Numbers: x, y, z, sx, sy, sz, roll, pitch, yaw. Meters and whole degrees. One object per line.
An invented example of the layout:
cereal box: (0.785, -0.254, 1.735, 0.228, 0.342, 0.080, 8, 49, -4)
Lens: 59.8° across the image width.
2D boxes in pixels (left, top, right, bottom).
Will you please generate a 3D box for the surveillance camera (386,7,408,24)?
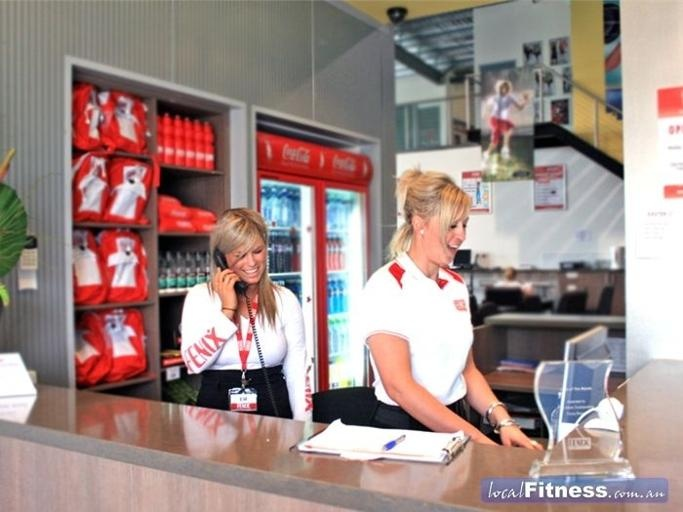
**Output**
surveillance camera: (0.551, -2.402, 5.925, 0.213, 0.096, 0.299, 1, 3, 6)

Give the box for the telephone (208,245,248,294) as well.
telephone: (-0.552, 0.067, 2.930, 0.053, 0.230, 0.090, -38, -23, 14)

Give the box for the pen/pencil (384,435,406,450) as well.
pen/pencil: (0.180, 0.614, 1.977, 0.025, 0.023, 0.129, 34, 19, 21)

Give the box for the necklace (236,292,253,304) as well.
necklace: (-0.481, 0.211, 2.944, 0.067, 0.052, 0.024, -3, 0, -37)

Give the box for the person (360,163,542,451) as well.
person: (0.410, 0.186, 2.428, 0.655, 1.112, 0.540, 0, 3, -4)

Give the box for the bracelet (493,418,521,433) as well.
bracelet: (0.667, 0.689, 2.448, 0.073, 0.031, 0.059, -7, -5, 42)

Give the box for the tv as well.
tv: (0.823, 0.412, 1.982, 0.115, 0.327, 0.368, 3, 5, 43)
